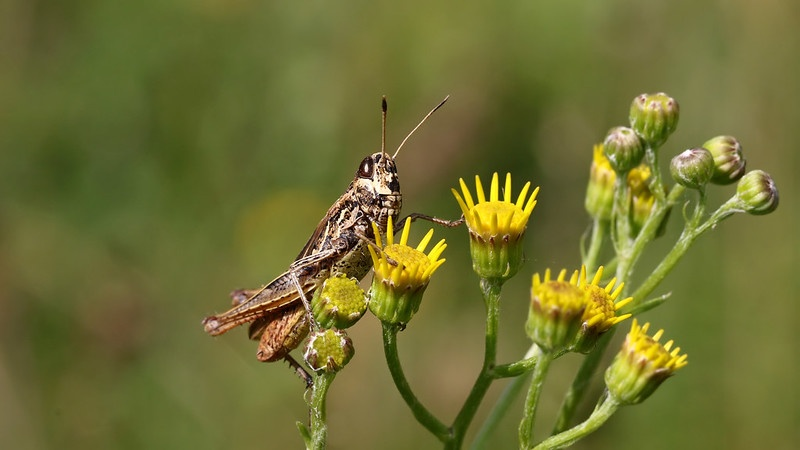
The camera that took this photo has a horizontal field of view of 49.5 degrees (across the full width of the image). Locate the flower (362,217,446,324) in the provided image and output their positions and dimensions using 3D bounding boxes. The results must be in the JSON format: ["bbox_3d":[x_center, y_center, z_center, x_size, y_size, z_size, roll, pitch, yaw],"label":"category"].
[{"bbox_3d":[0.040,0.405,7.308,0.632,0.860,0.384,-3,21,-3],"label":"flower"}]

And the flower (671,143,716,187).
[{"bbox_3d":[2.478,-0.504,7.436,0.315,0.334,0.338,-26,8,24],"label":"flower"}]

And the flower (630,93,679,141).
[{"bbox_3d":[2.205,-0.926,7.580,0.395,0.433,0.218,4,21,14],"label":"flower"}]

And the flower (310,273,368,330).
[{"bbox_3d":[-0.467,0.656,7.397,0.414,0.291,0.496,0,25,-5],"label":"flower"}]
